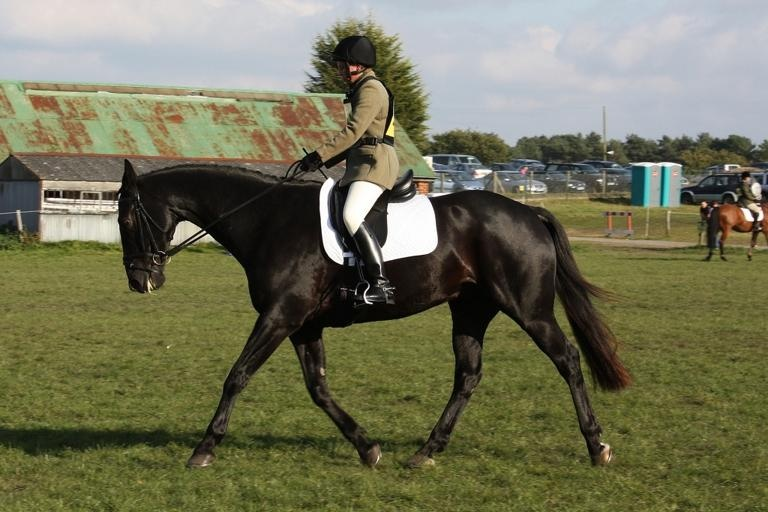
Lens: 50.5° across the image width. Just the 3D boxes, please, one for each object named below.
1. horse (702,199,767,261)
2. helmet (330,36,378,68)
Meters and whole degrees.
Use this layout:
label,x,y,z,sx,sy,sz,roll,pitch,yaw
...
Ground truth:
label,x,y,z,sx,sy,sz,roll,pitch,yaw
horse,10.452,-0.848,24.359,1.644,1.471,5.782,3,7,21
helmet,-0.330,-2.226,9.114,0.597,0.279,0.355,8,16,19
